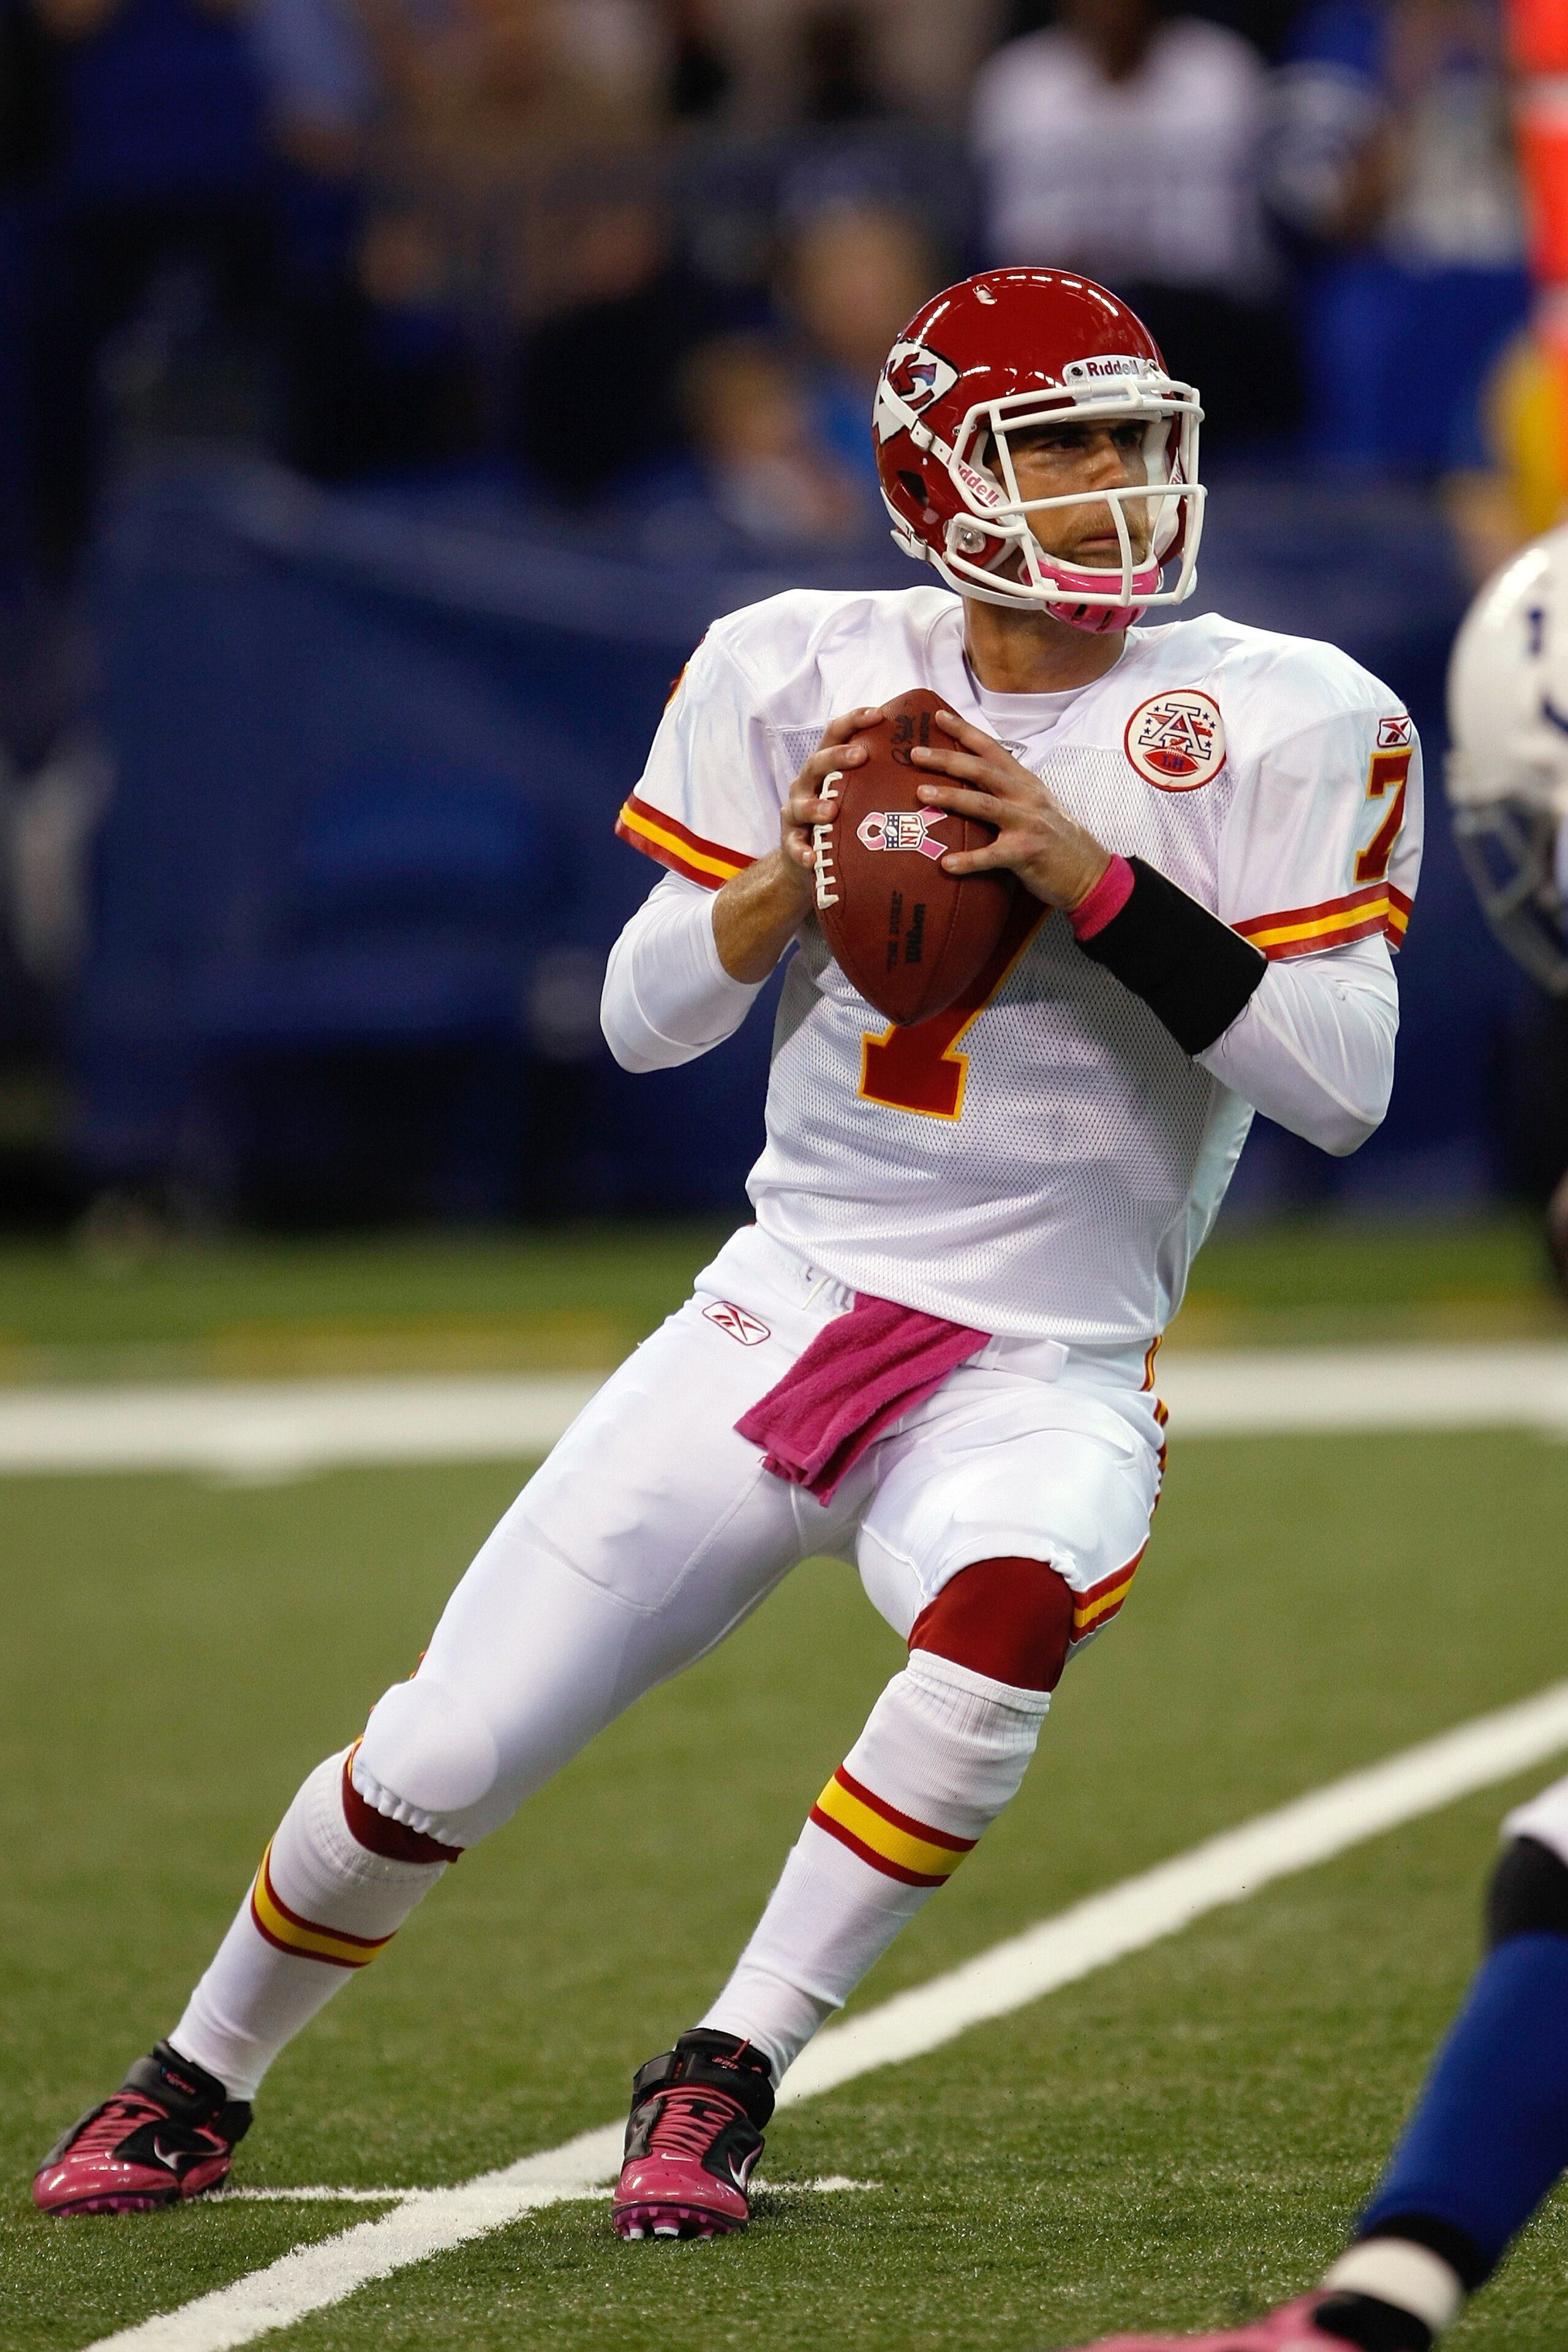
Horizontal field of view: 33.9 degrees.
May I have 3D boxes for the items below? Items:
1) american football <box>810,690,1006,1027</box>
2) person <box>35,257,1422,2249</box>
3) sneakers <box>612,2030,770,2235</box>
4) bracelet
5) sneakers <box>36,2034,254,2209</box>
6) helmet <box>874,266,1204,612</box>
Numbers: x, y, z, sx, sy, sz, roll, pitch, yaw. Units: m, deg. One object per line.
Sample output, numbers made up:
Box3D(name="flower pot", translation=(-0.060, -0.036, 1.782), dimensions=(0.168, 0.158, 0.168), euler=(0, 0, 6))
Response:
Box3D(name="american football", translation=(0.089, -0.238, 1.976), dimensions=(0.139, 0.221, 0.170), euler=(-7, 29, -6))
Box3D(name="person", translation=(-0.024, 0.051, 2.102), dimensions=(1.074, 1.500, 0.608), euler=(1, -4, 21))
Box3D(name="sneakers", translation=(-0.065, 0.707, 1.845), dimensions=(0.103, 0.139, 0.146), euler=(1, 28, 7))
Box3D(name="bracelet", translation=(0.278, -0.164, 1.887), dimensions=(0.141, 0.135, 0.053), euler=(40, 23, 9))
Box3D(name="sneakers", translation=(-0.483, 0.736, 1.959), dimensions=(0.290, 0.084, 0.122), euler=(4, 18, -11))
Box3D(name="helmet", translation=(0.185, -0.594, 2.107), dimensions=(0.259, 0.256, 0.332), euler=(-9, 15, -33))
